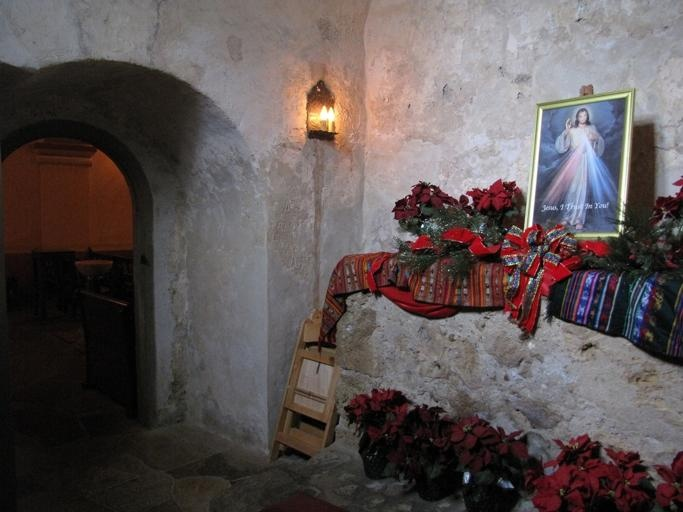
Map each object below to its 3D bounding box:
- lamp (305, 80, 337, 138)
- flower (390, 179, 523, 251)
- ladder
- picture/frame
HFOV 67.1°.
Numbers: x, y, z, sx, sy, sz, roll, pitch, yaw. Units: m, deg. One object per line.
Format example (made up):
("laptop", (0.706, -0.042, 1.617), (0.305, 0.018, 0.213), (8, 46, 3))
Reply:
("lamp", (-0.121, -1.006, 3.568), (0.128, 0.412, 0.276), (9, 16, 34))
("flower", (0.666, -0.264, 3.147), (0.545, 0.335, 0.547), (7, 8, 44))
("ladder", (-0.196, 0.893, 3.502), (0.400, 0.905, 0.514), (5, 14, 21))
("picture/frame", (1.298, -0.502, 2.835), (0.501, 0.791, 0.348), (6, 14, 26))
